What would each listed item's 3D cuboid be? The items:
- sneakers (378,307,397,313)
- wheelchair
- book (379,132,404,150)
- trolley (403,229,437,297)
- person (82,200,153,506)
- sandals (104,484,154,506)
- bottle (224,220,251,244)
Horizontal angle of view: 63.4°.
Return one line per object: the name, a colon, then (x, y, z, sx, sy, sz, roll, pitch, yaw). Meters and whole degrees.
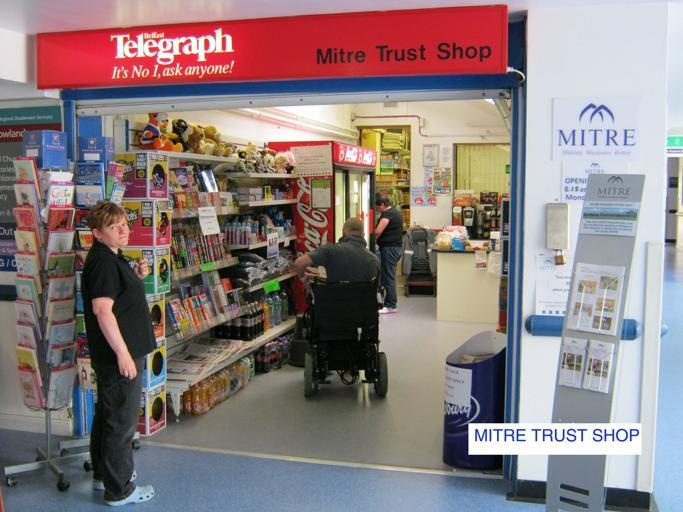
sneakers: (0.797, 0.938, 9.482, 0.355, 0.146, 0.122, 3, -2, -9)
wheelchair: (0.070, 0.804, 5.985, 0.873, 1.213, 1.282, -1, 8, 2)
book: (1.240, -2.755, 13.304, 0.502, 0.214, 0.494, -1, 8, 5)
trolley: (1.625, 0.070, 11.217, 0.763, 1.333, 0.680, -2, 0, 7)
person: (-1.577, 0.688, 3.930, 0.502, 2.135, 0.417, 6, 9, 34)
sandals: (-1.500, 1.715, 3.944, 0.319, 0.133, 0.120, -6, 5, -23)
bottle: (-1.187, -0.265, 6.514, 0.318, 0.295, 0.236, 2, 10, 1)
